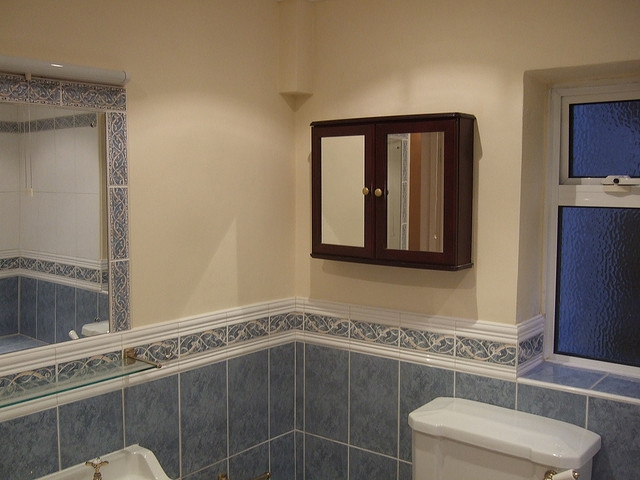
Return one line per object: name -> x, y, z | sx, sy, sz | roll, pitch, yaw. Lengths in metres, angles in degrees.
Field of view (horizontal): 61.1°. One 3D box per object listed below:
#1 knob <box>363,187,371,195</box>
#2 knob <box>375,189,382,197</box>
knob -> 0.215, -0.223, 2.477 | 0.036, 0.028, 0.019 | -1, -6, 15
knob -> 0.262, -0.212, 2.447 | 0.025, 0.033, 0.036 | 5, -7, -37
